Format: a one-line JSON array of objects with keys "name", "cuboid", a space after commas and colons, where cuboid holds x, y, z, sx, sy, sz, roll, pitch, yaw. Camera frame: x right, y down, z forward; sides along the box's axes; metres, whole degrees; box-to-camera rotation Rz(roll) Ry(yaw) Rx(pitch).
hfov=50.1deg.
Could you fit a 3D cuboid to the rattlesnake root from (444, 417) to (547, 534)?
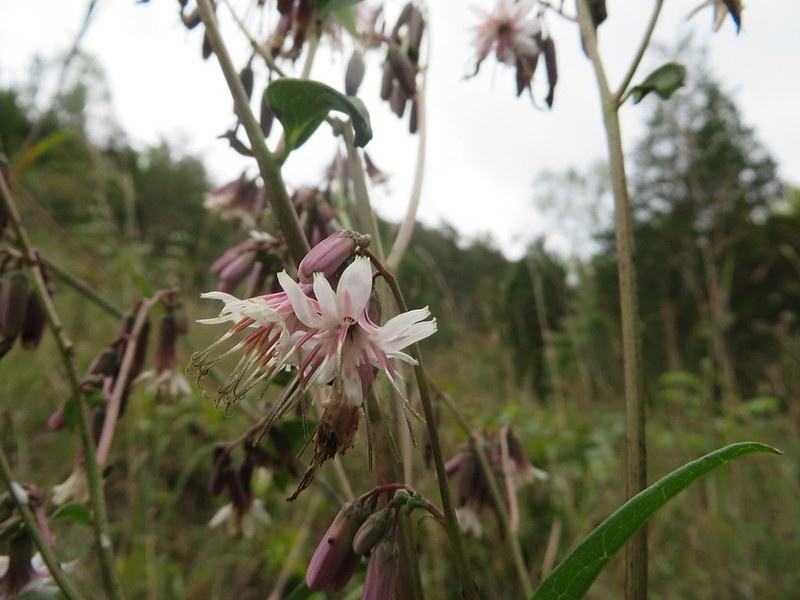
[{"name": "rattlesnake root", "cuboid": [0.270, 0.549, 2.541, 0.251, 0.274, 0.411, 13, -20, -16]}]
